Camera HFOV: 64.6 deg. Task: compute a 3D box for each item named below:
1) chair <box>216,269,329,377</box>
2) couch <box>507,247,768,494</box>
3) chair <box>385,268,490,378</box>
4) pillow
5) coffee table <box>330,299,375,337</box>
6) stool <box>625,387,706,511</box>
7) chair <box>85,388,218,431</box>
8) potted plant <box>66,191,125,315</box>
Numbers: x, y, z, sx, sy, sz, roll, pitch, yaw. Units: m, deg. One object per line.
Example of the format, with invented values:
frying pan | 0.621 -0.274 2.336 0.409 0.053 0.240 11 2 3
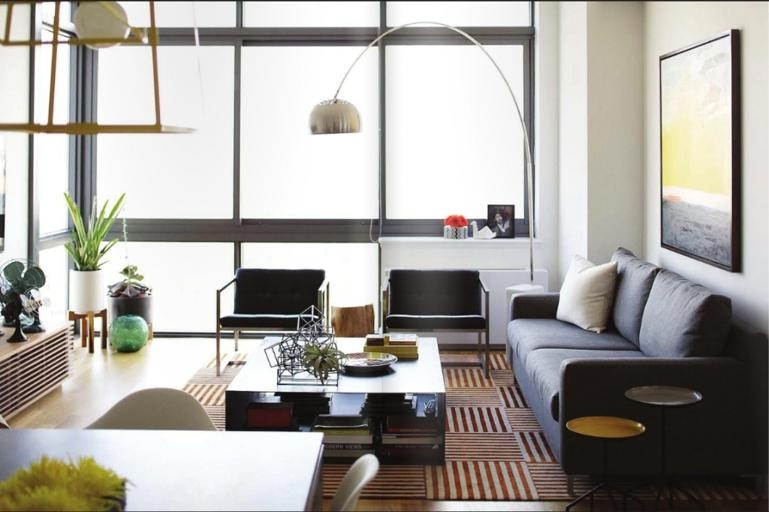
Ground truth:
chair | -1.143 0.606 5.993 1.086 0.877 1.157 2 2 17
couch | 1.665 0.328 4.223 1.148 1.196 2.172 0 2 7
chair | 0.474 0.674 5.885 1.009 1.026 0.816 -1 2 0
pillow | 1.699 0.317 5.219 0.309 0.563 0.596 4 7 -8
coffee table | -0.307 0.739 6.237 0.377 0.476 0.353 4 -11 2
stool | 1.624 1.128 3.558 0.396 0.728 0.562 1 6 28
chair | -1.103 0.747 2.896 0.552 0.190 0.190 -3 5 -10
potted plant | -3.114 -0.005 6.523 0.669 1.213 0.697 3 3 40
